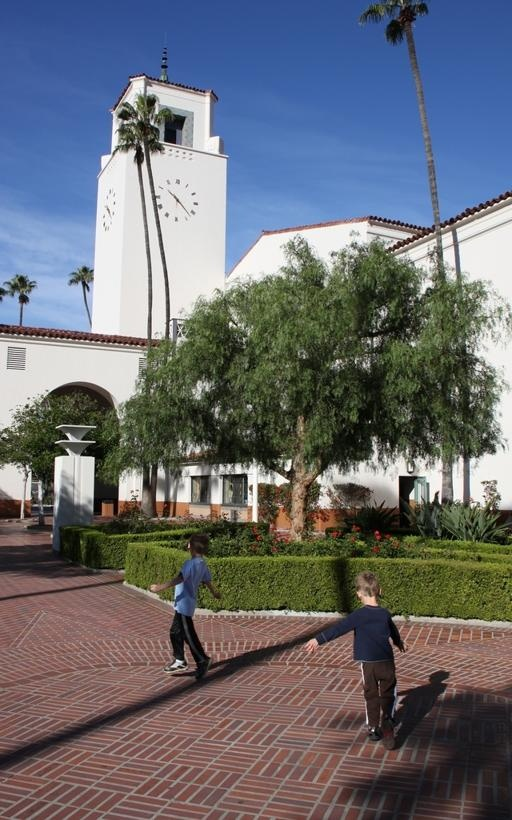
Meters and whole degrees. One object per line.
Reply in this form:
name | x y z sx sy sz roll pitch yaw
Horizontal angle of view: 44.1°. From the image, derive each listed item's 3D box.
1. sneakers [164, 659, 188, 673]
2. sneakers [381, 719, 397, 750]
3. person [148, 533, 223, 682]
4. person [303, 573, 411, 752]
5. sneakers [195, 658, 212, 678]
sneakers | -0.707 2.318 5.658 0.237 0.132 0.097 -2 -4 -2
sneakers | 0.805 1.975 3.822 0.061 0.211 0.084 -7 -17 34
person | -0.612 1.762 5.641 0.520 1.270 0.869 1 -6 -6
person | 0.653 1.544 3.894 0.379 1.045 0.631 -3 -7 34
sneakers | -0.470 2.304 5.595 0.083 0.232 0.078 9 -2 2
